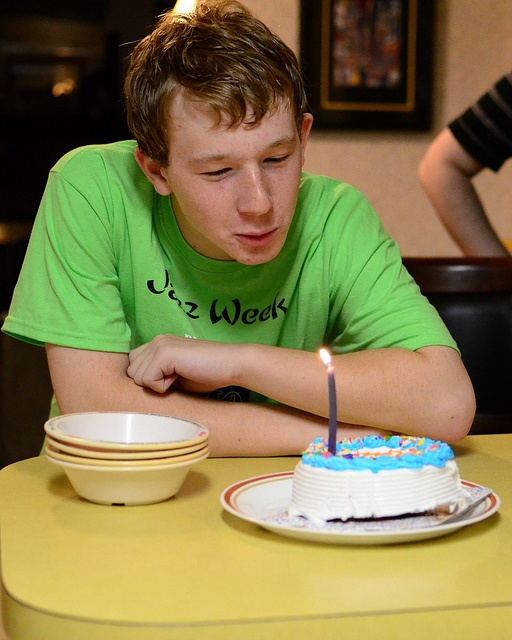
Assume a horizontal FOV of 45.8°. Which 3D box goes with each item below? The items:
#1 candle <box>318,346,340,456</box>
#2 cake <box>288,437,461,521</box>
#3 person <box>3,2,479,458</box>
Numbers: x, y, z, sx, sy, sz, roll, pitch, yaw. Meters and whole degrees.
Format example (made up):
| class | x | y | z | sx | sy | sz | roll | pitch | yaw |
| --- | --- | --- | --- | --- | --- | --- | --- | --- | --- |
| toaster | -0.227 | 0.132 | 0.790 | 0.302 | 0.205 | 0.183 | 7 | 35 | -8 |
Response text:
| class | x | y | z | sx | sy | sz | roll | pitch | yaw |
| --- | --- | --- | --- | --- | --- | --- | --- | --- | --- |
| candle | 0.084 | 0.087 | 0.652 | 0.022 | 0.114 | 0.019 | 0 | -8 | 9 |
| cake | 0.121 | 0.154 | 0.637 | 0.110 | 0.045 | 0.096 | 0 | -6 | -15 |
| person | -0.026 | -0.197 | 1.139 | 0.843 | 0.806 | 0.491 | 2 | 1 | 11 |
